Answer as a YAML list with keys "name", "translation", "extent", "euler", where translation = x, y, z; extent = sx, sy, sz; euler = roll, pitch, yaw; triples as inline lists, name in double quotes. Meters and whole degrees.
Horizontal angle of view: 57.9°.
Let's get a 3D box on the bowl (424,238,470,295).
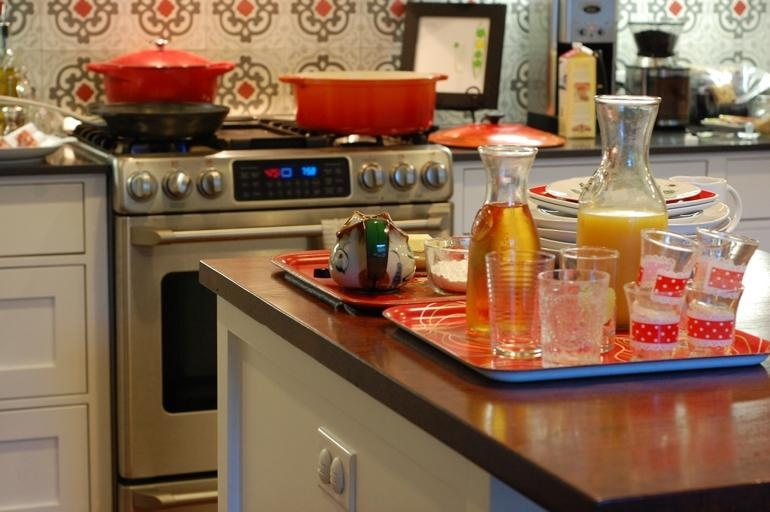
- name: "bowl"
  translation: [0.106, 0.015, 1.180]
  extent: [0.096, 0.065, 0.081]
  euler: [0, 5, -11]
